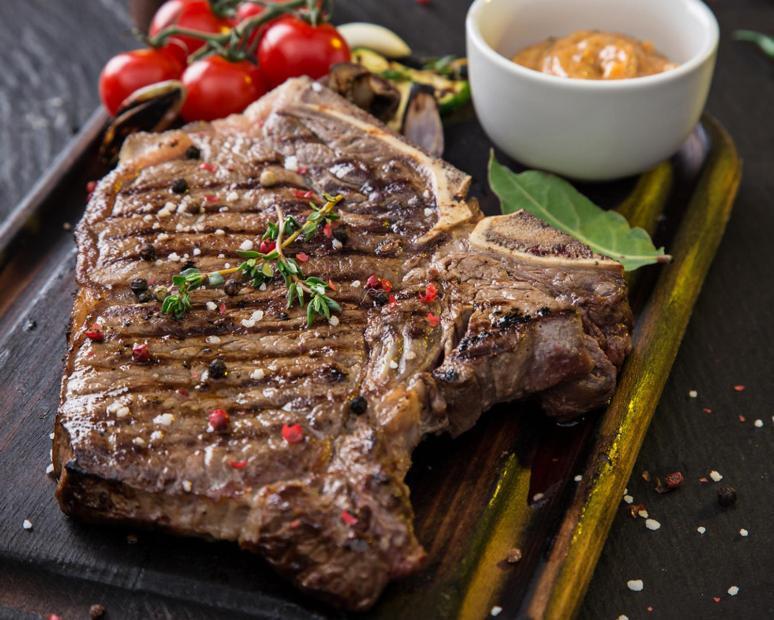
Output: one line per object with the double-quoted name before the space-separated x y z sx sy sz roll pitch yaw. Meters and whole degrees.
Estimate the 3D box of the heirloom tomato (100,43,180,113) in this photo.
"heirloom tomato" -1.204 -1.105 4.229 0.334 0.455 0.345 0 12 -6
